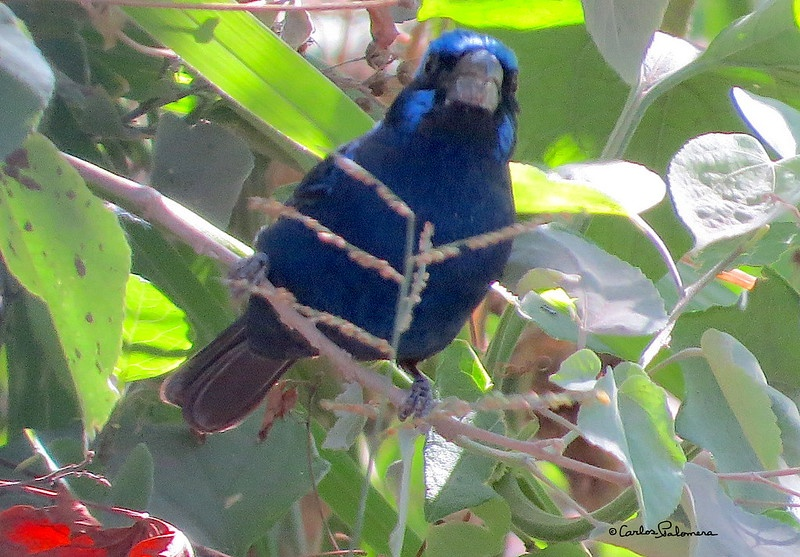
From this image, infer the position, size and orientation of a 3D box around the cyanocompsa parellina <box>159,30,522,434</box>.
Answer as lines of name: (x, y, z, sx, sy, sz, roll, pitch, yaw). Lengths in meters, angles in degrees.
cyanocompsa parellina: (-0.066, -0.004, 1.415, 0.264, 0.626, 0.355, 30, 47, -24)
